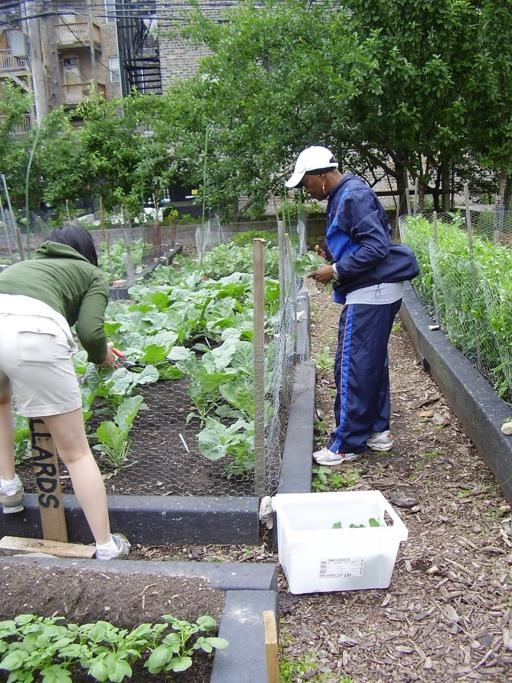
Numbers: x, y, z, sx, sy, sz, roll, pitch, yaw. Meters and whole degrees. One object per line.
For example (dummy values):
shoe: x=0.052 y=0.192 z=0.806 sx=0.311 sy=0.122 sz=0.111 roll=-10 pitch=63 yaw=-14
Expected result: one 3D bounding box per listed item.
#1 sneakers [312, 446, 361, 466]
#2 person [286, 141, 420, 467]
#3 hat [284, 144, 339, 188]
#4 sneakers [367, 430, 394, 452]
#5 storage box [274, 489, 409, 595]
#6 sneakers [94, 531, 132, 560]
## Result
sneakers: x=0.447 y=0.641 z=3.246 sx=0.232 sy=0.101 sz=0.091 roll=2 pitch=6 yaw=-18
person: x=0.531 y=-0.187 z=3.189 sx=0.630 sy=1.749 sz=0.580 roll=3 pitch=15 yaw=25
hat: x=0.305 y=-0.956 z=3.166 sx=0.265 sy=0.222 sz=0.274 roll=-2 pitch=13 yaw=7
sneakers: x=0.749 y=0.584 z=3.426 sx=0.081 sy=0.090 sz=0.187 roll=-16 pitch=19 yaw=-41
storage box: x=0.315 y=0.763 z=2.238 sx=0.472 sy=0.217 sz=0.358 roll=-1 pitch=16 yaw=-4
sneakers: x=-0.571 y=0.833 z=2.318 sx=0.074 sy=0.079 sz=0.190 roll=7 pitch=12 yaw=9
